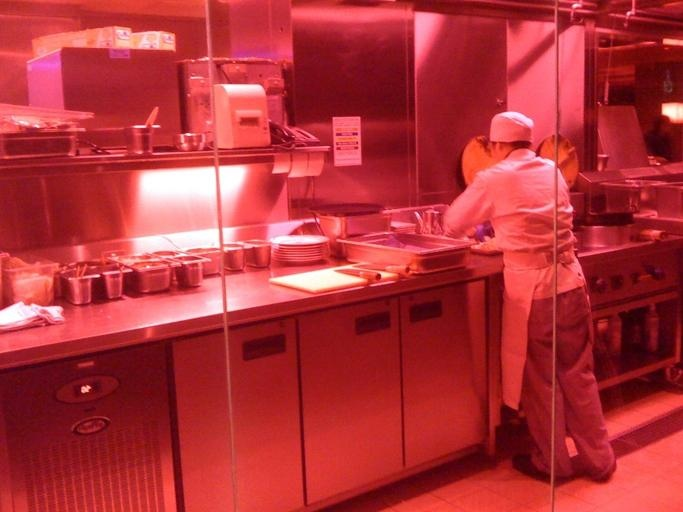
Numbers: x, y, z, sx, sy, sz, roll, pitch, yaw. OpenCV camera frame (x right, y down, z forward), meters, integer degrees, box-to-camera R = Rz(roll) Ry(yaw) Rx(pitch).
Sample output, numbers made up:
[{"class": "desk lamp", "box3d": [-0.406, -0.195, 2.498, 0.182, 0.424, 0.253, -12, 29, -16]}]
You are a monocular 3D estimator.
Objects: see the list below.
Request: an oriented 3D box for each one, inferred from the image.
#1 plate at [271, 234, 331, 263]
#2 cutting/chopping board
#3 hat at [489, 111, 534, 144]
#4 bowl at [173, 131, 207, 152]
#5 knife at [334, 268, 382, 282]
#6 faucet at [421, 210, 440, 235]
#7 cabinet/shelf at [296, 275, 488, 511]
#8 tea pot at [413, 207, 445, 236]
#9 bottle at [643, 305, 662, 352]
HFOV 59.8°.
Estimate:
[{"class": "plate", "box3d": [-0.191, -0.030, 2.716, 0.259, 0.106, 0.111, -4, 13, -5]}, {"class": "cutting/chopping board", "box3d": [-0.029, 0.082, 2.440, 0.328, 0.056, 0.406, 8, 16, 44]}, {"class": "hat", "box3d": [0.727, -0.569, 2.571, 0.165, 0.097, 0.159, 8, 13, 23]}, {"class": "bowl", "box3d": [-0.613, -0.480, 2.417, 0.100, 0.048, 0.091, 0, 6, 0]}, {"class": "knife", "box3d": [0.067, 0.064, 2.436, 0.220, 0.027, 0.055, 6, 46, 41]}, {"class": "faucet", "box3d": [0.425, -0.173, 2.885, 0.100, 0.111, 0.101, 1, 14, 22]}, {"class": "cabinet/shelf", "box3d": [0.179, 0.575, 2.488, 1.016, 0.745, 0.517, -7, 12, -28]}, {"class": "tea pot", "box3d": [0.427, -0.190, 3.023, 0.215, 0.163, 0.127, 5, 9, 39]}, {"class": "bottle", "box3d": [1.633, 0.374, 3.136, 0.073, 0.256, 0.150, 4, 15, 31]}]
